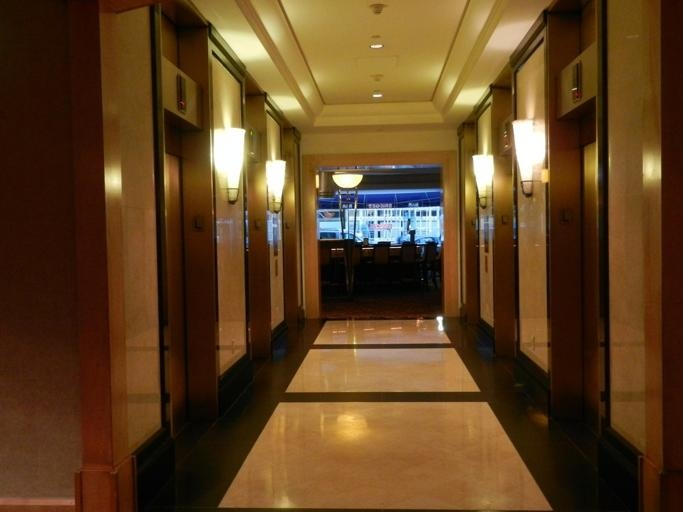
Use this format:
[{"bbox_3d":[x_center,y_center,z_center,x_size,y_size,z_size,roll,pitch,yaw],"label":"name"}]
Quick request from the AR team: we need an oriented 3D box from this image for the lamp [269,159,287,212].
[{"bbox_3d":[-0.768,-0.828,6.955,0.197,0.633,0.533,-1,3,-4],"label":"lamp"}]

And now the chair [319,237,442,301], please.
[{"bbox_3d":[0.764,0.189,12.779,2.976,1.166,1.617,-3,3,-28],"label":"chair"}]

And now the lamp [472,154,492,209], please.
[{"bbox_3d":[1.648,-0.842,6.940,0.175,0.571,0.187,3,19,31],"label":"lamp"}]

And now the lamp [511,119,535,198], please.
[{"bbox_3d":[1.549,-0.821,5.021,0.167,0.639,0.256,0,3,19],"label":"lamp"}]

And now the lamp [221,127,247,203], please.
[{"bbox_3d":[-0.916,-0.770,5.072,0.166,0.623,0.252,-2,3,-8],"label":"lamp"}]

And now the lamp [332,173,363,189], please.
[{"bbox_3d":[0.111,-1.740,13.658,0.618,0.348,0.832,-2,3,-2],"label":"lamp"}]
